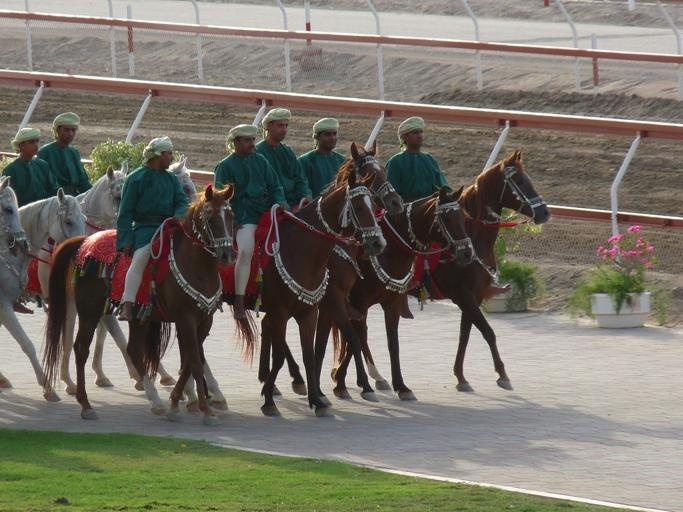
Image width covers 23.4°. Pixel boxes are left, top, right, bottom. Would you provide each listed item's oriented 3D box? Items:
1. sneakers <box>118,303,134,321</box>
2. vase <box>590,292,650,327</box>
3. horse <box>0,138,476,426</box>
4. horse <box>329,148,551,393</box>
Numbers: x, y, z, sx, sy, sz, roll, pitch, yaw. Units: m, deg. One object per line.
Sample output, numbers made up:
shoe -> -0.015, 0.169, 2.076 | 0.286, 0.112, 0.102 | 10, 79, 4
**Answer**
sneakers -> -2.911, 0.732, 22.396 | 0.195, 0.234, 0.105 | 4, -19, 21
vase -> 4.635, 0.886, 26.997 | 0.719, 0.393, 0.709 | 1, -3, -40
horse -> -1.538, 0.295, 22.660 | 4.768, 3.673, 1.650 | 0, 15, -1
horse -> 1.650, 0.416, 24.916 | 1.305, 3.393, 4.558 | 8, -12, -33
